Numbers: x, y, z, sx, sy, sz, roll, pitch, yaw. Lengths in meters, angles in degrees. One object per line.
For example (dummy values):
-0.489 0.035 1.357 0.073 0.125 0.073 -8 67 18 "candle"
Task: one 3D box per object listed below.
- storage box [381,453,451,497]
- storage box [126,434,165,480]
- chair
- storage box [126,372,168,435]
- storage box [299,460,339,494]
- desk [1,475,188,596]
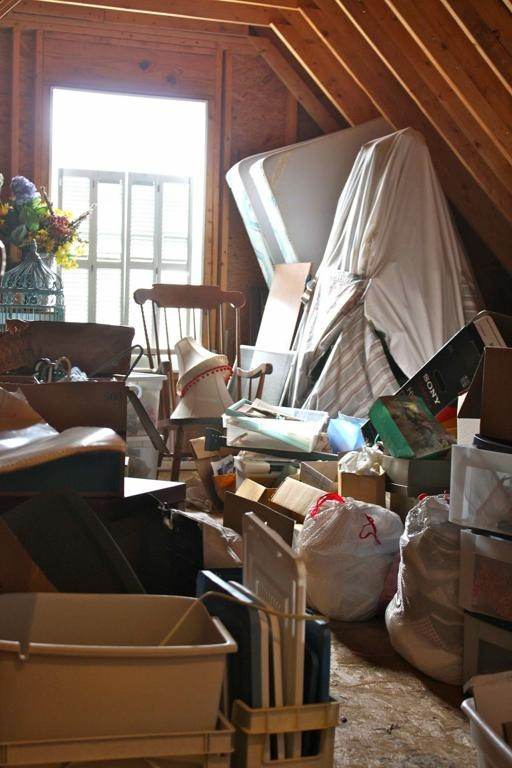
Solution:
0.478 0.249 1.882 0.134 0.082 0.132 1 -3 -35 "storage box"
-0.504 0.334 2.876 0.145 0.210 0.502 2 2 -8 "storage box"
-0.279 0.061 3.266 0.631 1.146 0.531 -3 3 -13 "chair"
-0.507 0.085 3.021 0.246 0.316 0.285 -1 7 -7 "storage box"
0.210 0.312 2.194 0.098 0.061 0.097 11 -4 -10 "storage box"
-0.353 0.326 1.665 0.296 0.282 0.296 2 2 41 "desk"
